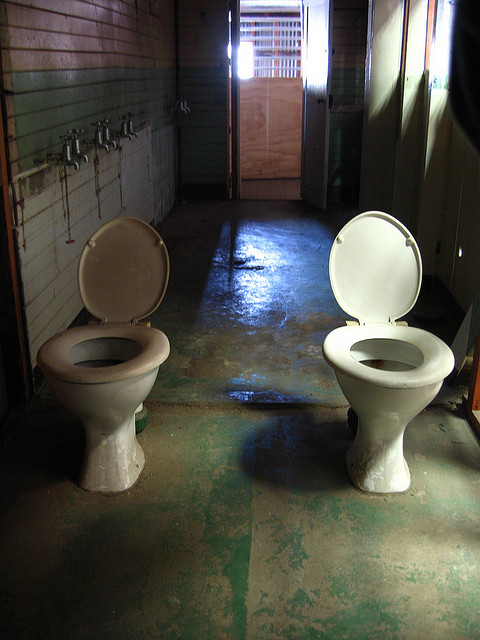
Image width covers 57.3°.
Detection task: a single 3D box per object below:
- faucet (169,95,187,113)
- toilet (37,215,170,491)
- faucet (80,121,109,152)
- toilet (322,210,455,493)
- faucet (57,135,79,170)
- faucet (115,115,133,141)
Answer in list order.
[{"bbox_3d":[-0.928,-3.243,6.615,0.220,0.241,0.576,-1,27,-4],"label":"faucet"},{"bbox_3d":[-0.600,0.144,2.018,0.386,1.227,0.663,4,13,-1],"label":"toilet"},{"bbox_3d":[-0.986,-1.246,3.018,0.139,0.242,0.198,11,19,29],"label":"faucet"},{"bbox_3d":[0.656,0.115,1.999,0.541,0.989,0.779,6,23,13],"label":"toilet"},{"bbox_3d":[-1.026,-0.987,2.579,0.108,0.164,0.299,-9,28,-21],"label":"faucet"},{"bbox_3d":[-1.018,-1.653,3.818,0.112,0.207,0.488,-3,27,-9],"label":"faucet"}]
